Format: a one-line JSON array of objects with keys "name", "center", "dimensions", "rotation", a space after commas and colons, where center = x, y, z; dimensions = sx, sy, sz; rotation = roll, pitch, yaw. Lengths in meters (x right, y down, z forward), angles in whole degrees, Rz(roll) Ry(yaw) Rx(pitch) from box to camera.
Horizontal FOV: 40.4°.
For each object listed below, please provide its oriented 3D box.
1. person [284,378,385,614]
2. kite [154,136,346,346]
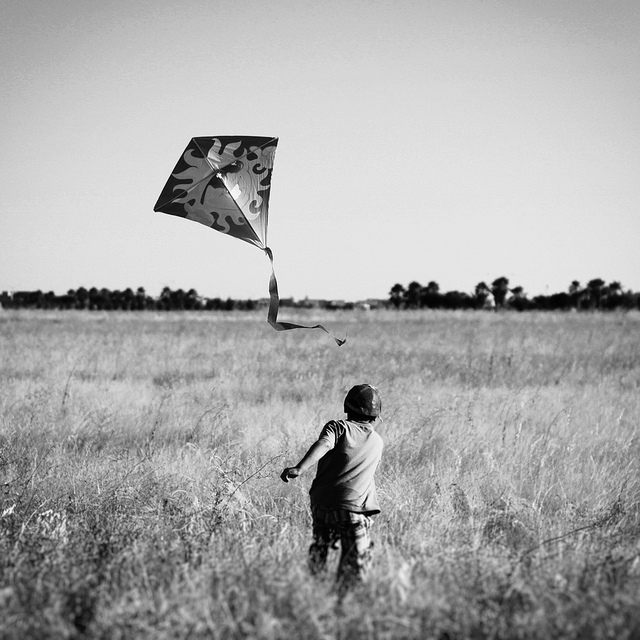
[{"name": "person", "center": [0.139, 1.148, 5.566], "dimensions": [0.495, 1.411, 0.424], "rotation": [14, -26, -8]}, {"name": "kite", "center": [-0.662, -0.837, 6.427], "dimensions": [1.073, 1.782, 0.501], "rotation": [-32, 11, -13]}]
